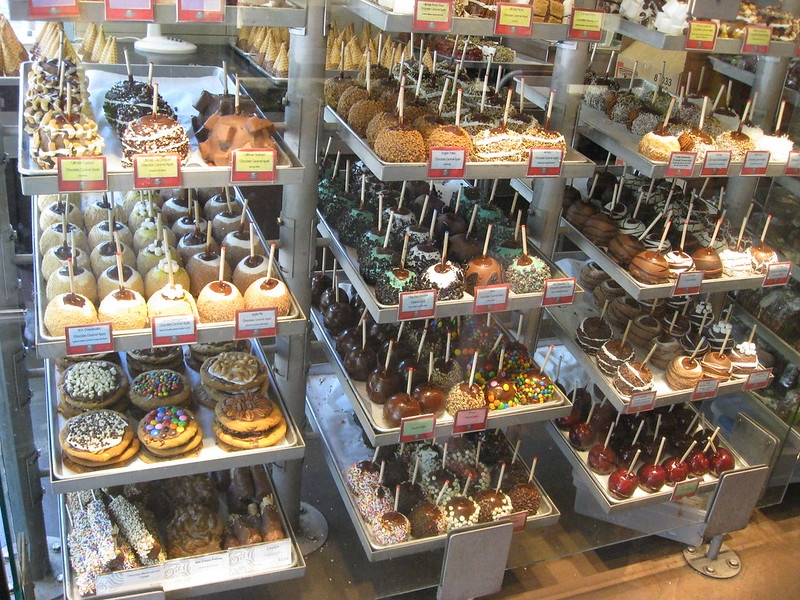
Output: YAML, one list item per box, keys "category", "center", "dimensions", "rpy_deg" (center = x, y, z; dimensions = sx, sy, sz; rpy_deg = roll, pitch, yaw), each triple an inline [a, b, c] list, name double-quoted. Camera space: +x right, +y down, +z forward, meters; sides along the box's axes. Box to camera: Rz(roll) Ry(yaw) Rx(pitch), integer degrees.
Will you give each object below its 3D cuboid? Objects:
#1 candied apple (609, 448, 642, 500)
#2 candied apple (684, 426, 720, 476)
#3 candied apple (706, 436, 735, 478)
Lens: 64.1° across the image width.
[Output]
- category: "candied apple"
  center: [0.855, 0.664, 2.437]
  dimensions: [0.078, 0.177, 0.078]
  rpy_deg: [25, 42, 29]
- category: "candied apple"
  center: [1.211, 0.612, 2.578]
  dimensions: [0.093, 0.224, 0.092]
  rpy_deg: [19, 30, 13]
- category: "candied apple"
  center: [1.297, 0.635, 2.601]
  dimensions: [0.118, 0.121, 0.122]
  rpy_deg: [0, 29, 28]
